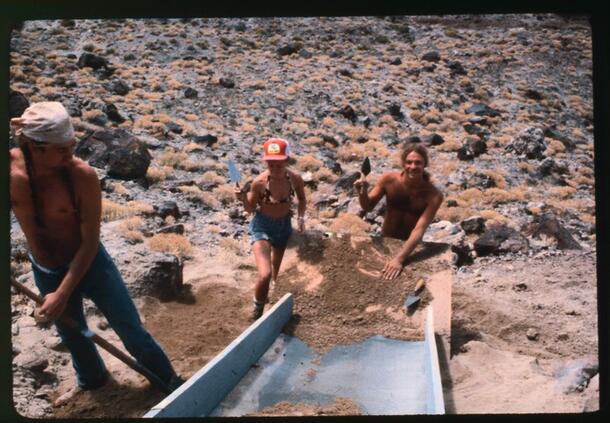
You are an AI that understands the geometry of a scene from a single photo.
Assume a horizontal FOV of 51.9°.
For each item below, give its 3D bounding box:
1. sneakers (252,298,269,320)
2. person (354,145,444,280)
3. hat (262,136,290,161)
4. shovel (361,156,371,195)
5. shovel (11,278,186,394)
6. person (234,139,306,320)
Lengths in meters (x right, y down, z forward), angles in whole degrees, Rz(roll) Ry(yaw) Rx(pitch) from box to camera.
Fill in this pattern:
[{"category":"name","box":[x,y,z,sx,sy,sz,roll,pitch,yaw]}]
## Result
[{"category":"sneakers","box":[-0.576,1.227,7.842,0.169,0.324,0.242,6,53,-9]},{"category":"person","box":[1.218,-0.028,7.979,0.846,1.590,0.794,-16,35,-31]},{"category":"hat","box":[-0.350,-0.759,7.689,0.293,0.237,0.257,3,28,0]},{"category":"shovel","box":[0.813,-0.566,8.407,0.111,0.333,0.040,8,7,-5]},{"category":"shovel","box":[-2.538,1.546,7.511,2.429,0.321,0.254,28,72,1]},{"category":"person","box":[-0.418,0.187,7.816,0.692,2.075,1.039,13,31,15]}]
